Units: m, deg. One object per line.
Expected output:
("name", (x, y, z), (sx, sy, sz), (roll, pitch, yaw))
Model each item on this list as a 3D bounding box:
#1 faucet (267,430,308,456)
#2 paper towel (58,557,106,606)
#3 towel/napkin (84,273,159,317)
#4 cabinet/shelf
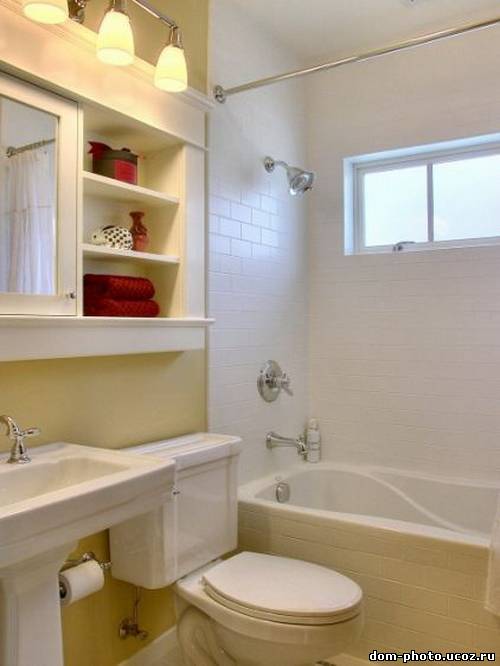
("faucet", (0.219, 0.532, 2.552), (0.254, 0.114, 0.106), (-1, -5, 33))
("paper towel", (-0.443, 0.633, 1.349), (0.081, 0.084, 0.105), (-1, 4, 33))
("towel/napkin", (-0.396, -0.112, 1.601), (0.139, 0.088, 0.183), (3, 4, 36))
("cabinet/shelf", (-0.371, -0.357, 1.770), (0.250, 0.629, 0.632), (1, 5, 23))
